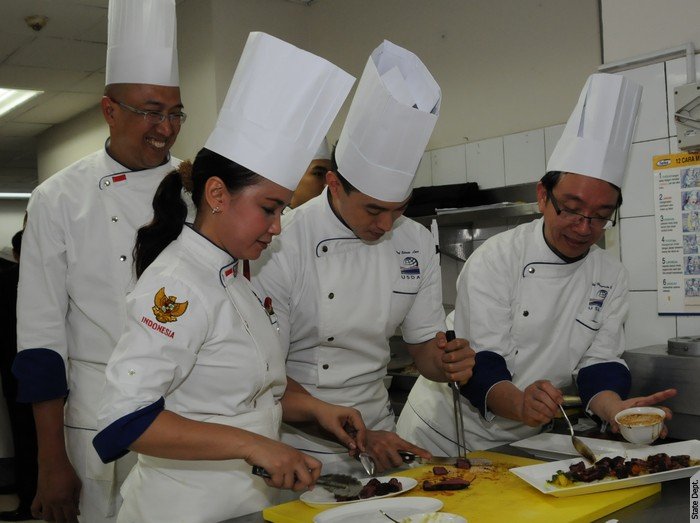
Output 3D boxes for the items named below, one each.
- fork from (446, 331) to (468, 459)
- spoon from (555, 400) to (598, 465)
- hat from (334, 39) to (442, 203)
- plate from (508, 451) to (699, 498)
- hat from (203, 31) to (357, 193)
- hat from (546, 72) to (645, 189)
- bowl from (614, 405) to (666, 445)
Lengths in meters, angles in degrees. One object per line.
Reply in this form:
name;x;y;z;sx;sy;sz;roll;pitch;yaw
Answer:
fork;0.390;0.456;1.935;0.062;0.523;0.040;-8;6;-25
spoon;0.759;0.550;1.819;0.029;0.035;0.218;-1;47;-29
hat;0.106;-0.508;1.794;0.325;0.506;0.364;-13;-29;22
plate;0.706;0.560;1.523;0.527;0.069;0.212;3;-1;-13
hat;-0.146;-0.333;1.710;0.446;0.419;0.394;32;-3;-9
hat;0.938;-0.427;2.120;0.330;0.500;0.338;13;-10;25
bowl;0.913;0.502;1.713;0.134;0.114;0.174;1;-2;35
